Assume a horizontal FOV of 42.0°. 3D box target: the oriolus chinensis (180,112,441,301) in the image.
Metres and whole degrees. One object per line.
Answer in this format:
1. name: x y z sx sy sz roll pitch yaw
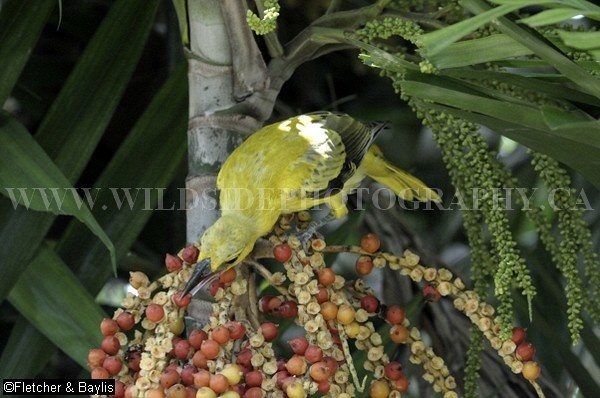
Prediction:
1. oriolus chinensis: 0.004 0.031 2.759 0.578 0.272 0.792 35 75 26
